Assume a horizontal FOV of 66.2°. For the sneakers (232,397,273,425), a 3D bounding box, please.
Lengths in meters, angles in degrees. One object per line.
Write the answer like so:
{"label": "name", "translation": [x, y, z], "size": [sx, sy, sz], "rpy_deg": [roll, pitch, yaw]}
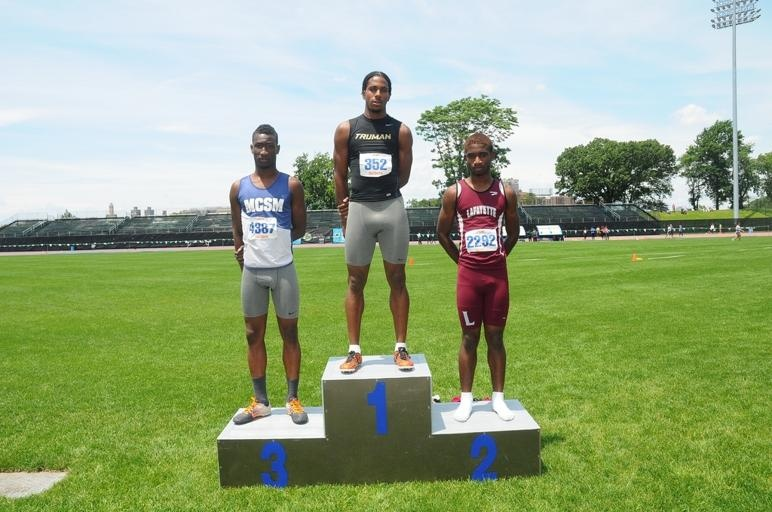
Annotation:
{"label": "sneakers", "translation": [-1.696, 1.945, 7.443], "size": [0.188, 0.223, 0.534], "rpy_deg": [11, 9, 40]}

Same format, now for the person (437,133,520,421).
{"label": "person", "translation": [1.188, 0.221, 7.507], "size": [0.947, 3.494, 1.120], "rpy_deg": [0, 4, 28]}

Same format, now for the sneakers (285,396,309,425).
{"label": "sneakers", "translation": [-1.090, 1.928, 7.352], "size": [0.233, 0.223, 0.384], "rpy_deg": [-3, 4, -15]}

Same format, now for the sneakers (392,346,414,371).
{"label": "sneakers", "translation": [0.226, 1.269, 7.374], "size": [0.243, 0.211, 0.502], "rpy_deg": [-2, 4, 0]}

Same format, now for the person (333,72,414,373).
{"label": "person", "translation": [-0.137, -0.513, 7.736], "size": [1.032, 3.697, 0.986], "rpy_deg": [-2, 4, -4]}

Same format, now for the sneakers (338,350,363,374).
{"label": "sneakers", "translation": [-0.433, 1.299, 7.314], "size": [0.286, 0.200, 0.520], "rpy_deg": [-2, 4, -2]}

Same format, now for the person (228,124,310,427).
{"label": "person", "translation": [-1.499, 0.215, 7.628], "size": [0.959, 3.762, 1.015], "rpy_deg": [-2, 4, -8]}
